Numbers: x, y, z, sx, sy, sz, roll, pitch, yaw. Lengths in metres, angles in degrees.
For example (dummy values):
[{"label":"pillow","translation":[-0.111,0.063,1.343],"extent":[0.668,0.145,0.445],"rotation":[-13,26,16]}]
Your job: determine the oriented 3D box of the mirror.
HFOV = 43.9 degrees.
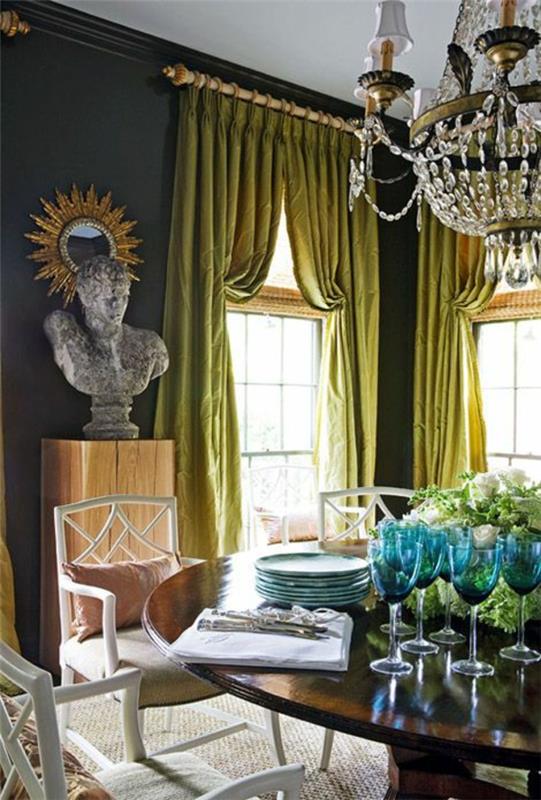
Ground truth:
[{"label":"mirror","translation":[-0.883,-0.696,3.051],"extent":[0.035,0.703,0.692],"rotation":[-4,-1,41]}]
